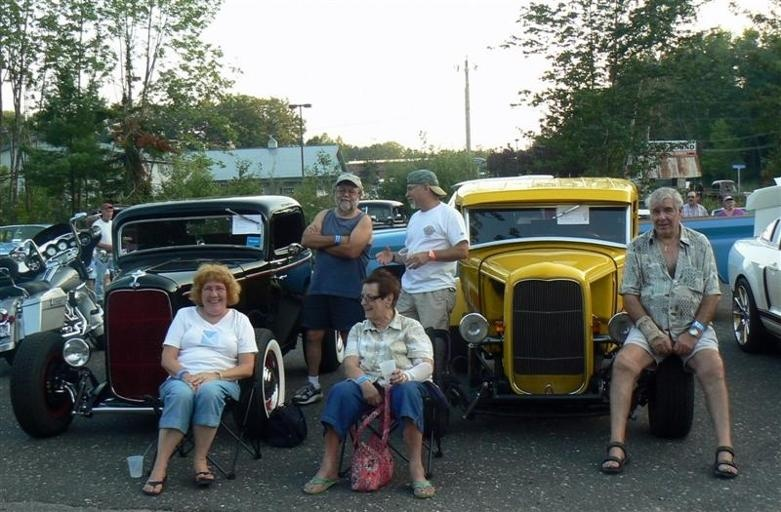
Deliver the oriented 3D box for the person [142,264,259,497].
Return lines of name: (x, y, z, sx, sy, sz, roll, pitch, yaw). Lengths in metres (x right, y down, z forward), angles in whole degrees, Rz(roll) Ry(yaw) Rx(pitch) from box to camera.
person: (-1.963, 1.179, 7.632, 0.864, 2.043, 1.197, 1, 10, 15)

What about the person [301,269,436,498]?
person: (-0.144, 1.219, 7.424, 1.129, 2.043, 0.908, -1, 10, 2)

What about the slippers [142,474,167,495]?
slippers: (-2.313, 2.227, 7.312, 0.200, 0.130, 0.280, -3, 10, -11)

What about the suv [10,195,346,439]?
suv: (-2.399, 0.536, 10.022, 2.296, 1.943, 3.955, -1, 0, 9)

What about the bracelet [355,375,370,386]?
bracelet: (-0.278, 1.226, 7.369, 0.134, 0.065, 0.149, -4, 11, -15)

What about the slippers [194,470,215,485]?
slippers: (-1.839, 2.187, 7.397, 0.186, 0.151, 0.187, -4, 11, -18)

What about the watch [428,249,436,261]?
watch: (0.484, -0.007, 8.732, 0.037, 0.107, 0.078, -4, 6, -30)

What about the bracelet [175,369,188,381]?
bracelet: (-2.128, 1.211, 7.607, 0.096, 0.099, 0.070, 4, 1, -19)

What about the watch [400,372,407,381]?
watch: (0.128, 1.183, 7.292, 0.062, 0.071, 0.067, -2, -8, -4)

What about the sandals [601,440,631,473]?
sandals: (2.261, 2.029, 7.533, 0.271, 0.249, 0.275, 2, 11, 17)

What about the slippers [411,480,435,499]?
slippers: (0.328, 2.225, 7.194, 0.230, 0.133, 0.196, -3, 10, -11)

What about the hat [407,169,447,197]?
hat: (0.429, -0.912, 9.095, 0.496, 0.279, 0.329, 6, 4, -1)

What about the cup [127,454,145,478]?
cup: (-2.577, 2.120, 7.573, 0.220, 0.229, 0.219, 3, 0, 0)

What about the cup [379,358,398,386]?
cup: (-0.036, 1.140, 7.400, 0.179, 0.225, 0.221, 4, -19, -11)

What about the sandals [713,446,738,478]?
sandals: (3.314, 2.030, 7.370, 0.217, 0.256, 0.229, 3, 11, 22)

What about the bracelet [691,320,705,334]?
bracelet: (3.197, 0.750, 7.788, 0.133, 0.128, 0.125, 16, -28, 34)

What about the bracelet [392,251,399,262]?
bracelet: (0.066, 0.013, 8.946, 0.066, 0.094, 0.092, 2, 3, -2)

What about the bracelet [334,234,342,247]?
bracelet: (-0.645, -0.206, 9.351, 0.078, 0.127, 0.114, 1, 0, 0)

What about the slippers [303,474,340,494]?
slippers: (-0.699, 2.220, 7.293, 0.131, 0.084, 0.299, -3, -6, 41)
